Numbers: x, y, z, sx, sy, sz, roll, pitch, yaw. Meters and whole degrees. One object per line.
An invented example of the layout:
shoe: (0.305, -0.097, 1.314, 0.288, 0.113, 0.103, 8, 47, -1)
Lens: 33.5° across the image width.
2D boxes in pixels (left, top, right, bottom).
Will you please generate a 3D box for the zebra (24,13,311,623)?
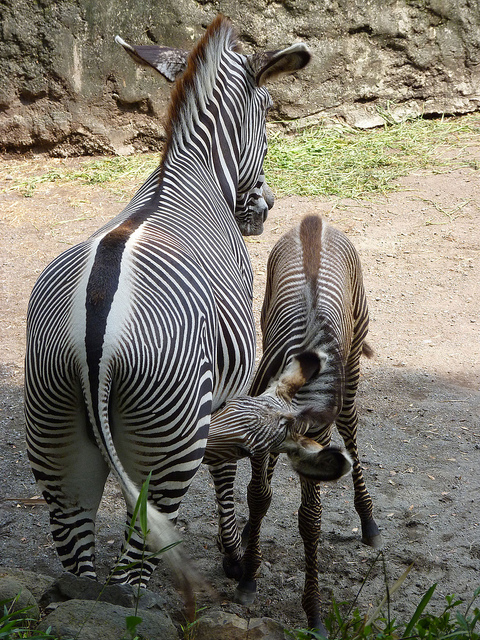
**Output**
zebra: (-0.302, -0.150, 2.948, 0.760, 1.813, 1.515, 8, 18, 2)
